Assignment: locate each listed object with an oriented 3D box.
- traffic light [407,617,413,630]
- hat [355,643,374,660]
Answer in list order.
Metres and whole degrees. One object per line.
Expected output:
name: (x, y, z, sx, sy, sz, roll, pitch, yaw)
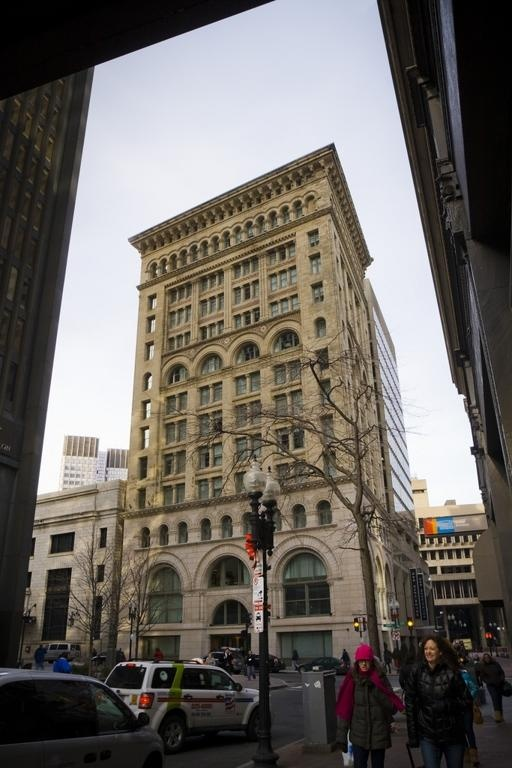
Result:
traffic light: (8.028, 12.402, 30.963, 0.182, 0.518, 0.800, -5, -24, 9)
hat: (1.200, 2.971, 6.663, 0.203, 0.240, 0.281, 3, -27, 8)
